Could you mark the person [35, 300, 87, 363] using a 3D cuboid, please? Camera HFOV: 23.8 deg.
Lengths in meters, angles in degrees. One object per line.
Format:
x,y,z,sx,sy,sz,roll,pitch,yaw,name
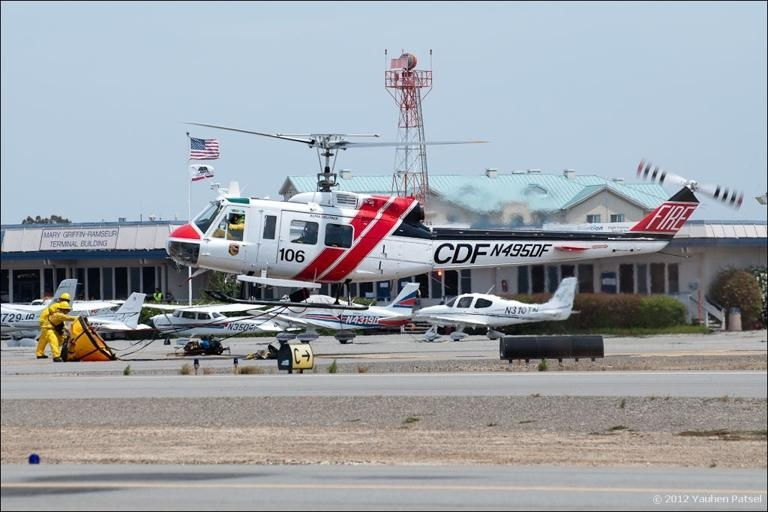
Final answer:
-10.162,2.287,57.241,1.570,1.773,0.890,0,2,15,person
